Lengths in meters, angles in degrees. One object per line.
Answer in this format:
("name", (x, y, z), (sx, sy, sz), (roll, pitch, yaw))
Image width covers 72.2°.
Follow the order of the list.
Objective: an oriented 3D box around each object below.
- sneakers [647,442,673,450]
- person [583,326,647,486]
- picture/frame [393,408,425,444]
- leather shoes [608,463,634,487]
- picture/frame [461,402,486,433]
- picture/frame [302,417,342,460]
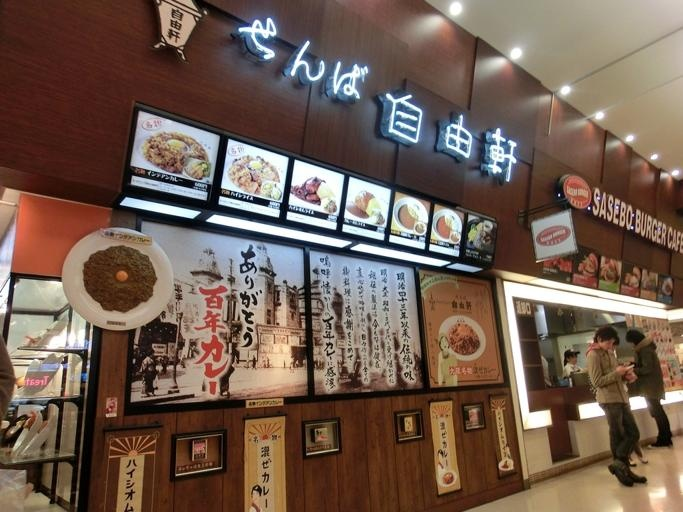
("sneakers", (5.029, 2.986, 7.394), (0.107, 0.158, 0.344), (14, -24, -43))
("person", (3.373, 1.798, 5.759), (0.546, 1.845, 0.412), (4, -16, -24))
("picture/frame", (0.689, 1.789, 4.955), (0.301, 0.287, 0.116), (0, -13, -19))
("leather shoes", (3.328, 2.570, 5.558), (0.222, 0.263, 0.161), (0, -15, -8))
("picture/frame", (1.514, 1.879, 5.453), (0.340, 0.277, 0.033), (9, -17, -44))
("picture/frame", (-0.212, 1.720, 4.403), (0.388, 0.306, 0.042), (5, -14, -36))
